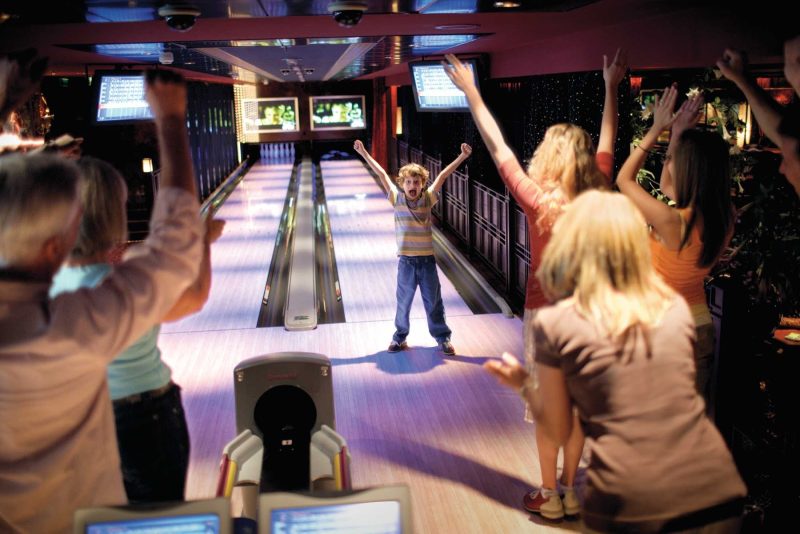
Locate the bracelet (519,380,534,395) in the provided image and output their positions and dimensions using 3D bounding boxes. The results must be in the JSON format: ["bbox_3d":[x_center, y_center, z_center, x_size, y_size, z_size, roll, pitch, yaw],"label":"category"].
[{"bbox_3d":[0.373,0.352,1.543,0.029,0.038,0.010,11,-6,36],"label":"bracelet"}]

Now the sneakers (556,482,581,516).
[{"bbox_3d":[0.859,1.175,2.722,0.077,0.088,0.209,-3,10,-1],"label":"sneakers"}]

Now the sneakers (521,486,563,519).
[{"bbox_3d":[0.732,1.191,2.758,0.110,0.117,0.242,-4,3,-20],"label":"sneakers"}]

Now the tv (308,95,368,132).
[{"bbox_3d":[-2.066,-5.203,17.859,1.481,0.863,0.058,-1,6,-4],"label":"tv"}]

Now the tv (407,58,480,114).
[{"bbox_3d":[0.434,-1.953,5.732,0.924,0.735,0.625,-4,22,-13],"label":"tv"}]

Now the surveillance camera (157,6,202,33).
[{"bbox_3d":[-1.273,-1.430,3.154,0.172,0.108,0.171,1,8,5],"label":"surveillance camera"}]

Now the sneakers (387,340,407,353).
[{"bbox_3d":[-0.013,0.683,4.541,0.178,0.078,0.074,0,7,-15],"label":"sneakers"}]

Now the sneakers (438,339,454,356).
[{"bbox_3d":[0.396,0.686,4.474,0.075,0.086,0.194,-1,-2,-11],"label":"sneakers"}]
